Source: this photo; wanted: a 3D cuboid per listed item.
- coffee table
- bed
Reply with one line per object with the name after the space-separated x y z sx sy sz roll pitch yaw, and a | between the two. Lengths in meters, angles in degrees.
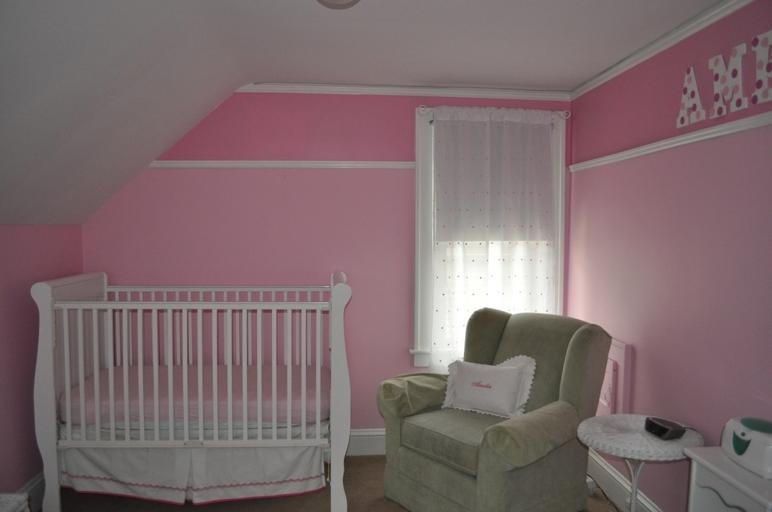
1.477 1.071 3.771 0.650 0.676 0.616 -1 1 -10 | coffee table
-1.227 0.976 4.567 2.592 2.025 1.469 0 -3 -5 | bed
